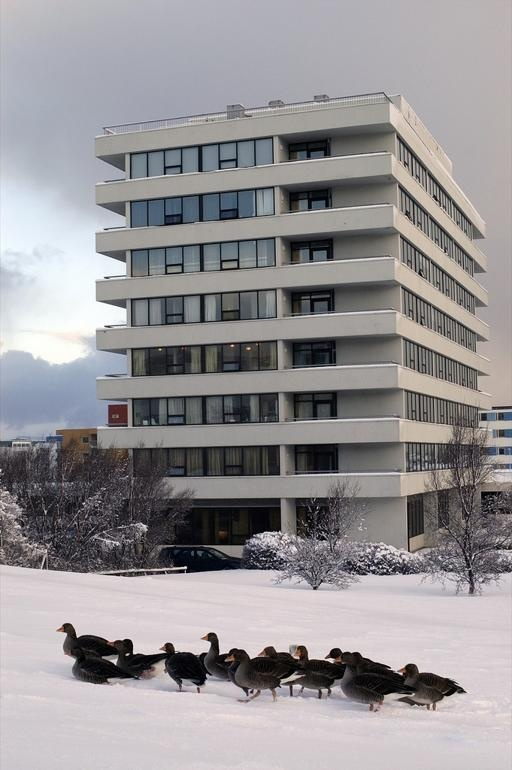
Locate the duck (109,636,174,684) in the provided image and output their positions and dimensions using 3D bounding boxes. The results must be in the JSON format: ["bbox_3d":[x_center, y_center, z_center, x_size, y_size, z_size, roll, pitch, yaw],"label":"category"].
[{"bbox_3d":[-1.551,3.675,16.663,0.856,0.627,0.577,1,-4,0],"label":"duck"}]
